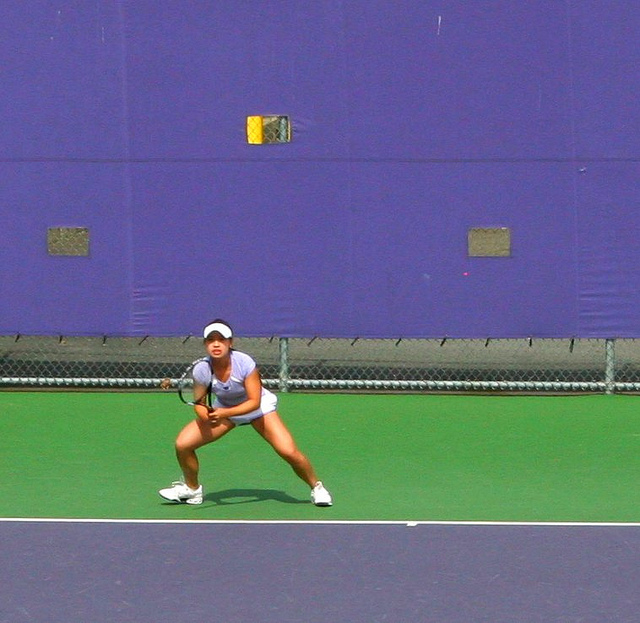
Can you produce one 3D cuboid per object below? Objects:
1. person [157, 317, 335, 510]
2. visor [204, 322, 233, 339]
[{"bbox_3d":[-0.618,0.819,10.039,1.613,1.366,1.088,-4,0,22],"label":"person"},{"bbox_3d":[-0.784,0.146,9.967,0.205,0.121,0.134,-1,1,-6],"label":"visor"}]
